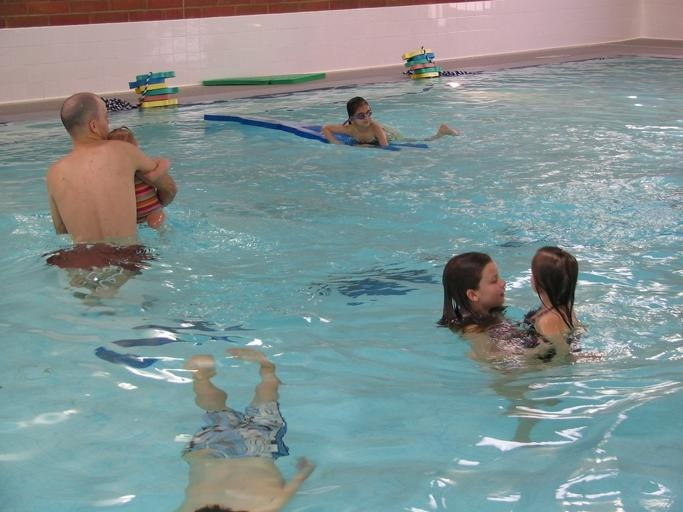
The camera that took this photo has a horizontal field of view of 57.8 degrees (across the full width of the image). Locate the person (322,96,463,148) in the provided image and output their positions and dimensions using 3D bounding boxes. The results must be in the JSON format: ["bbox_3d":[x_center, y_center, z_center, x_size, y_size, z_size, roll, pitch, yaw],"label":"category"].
[{"bbox_3d":[0.572,-1.387,6.712,1.417,0.310,0.628,6,3,-1],"label":"person"}]
